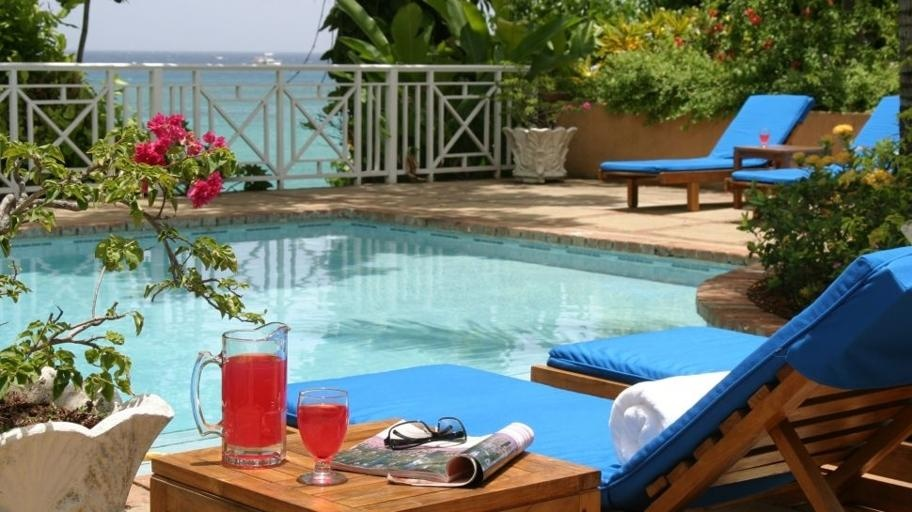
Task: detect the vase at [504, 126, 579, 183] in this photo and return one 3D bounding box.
[{"bbox_3d":[1.216,-1.473,12.442,1.012,0.562,0.922,-1,3,-6],"label":"vase"}]

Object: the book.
[{"bbox_3d":[-0.059,0.603,2.620,0.330,0.131,0.731,-1,-2,21],"label":"book"}]

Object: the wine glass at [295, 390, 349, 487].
[{"bbox_3d":[-0.379,0.501,2.419,0.185,0.282,0.141,0,4,-4],"label":"wine glass"}]

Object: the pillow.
[{"bbox_3d":[0.750,0.532,3.074,0.479,0.279,0.370,-11,0,-33],"label":"pillow"}]

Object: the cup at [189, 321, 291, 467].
[{"bbox_3d":[-0.645,0.408,2.556,0.225,0.504,0.219,0,1,0],"label":"cup"}]

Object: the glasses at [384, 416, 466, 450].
[{"bbox_3d":[-0.098,0.567,2.662,0.159,0.046,0.151,-2,-3,-26],"label":"glasses"}]

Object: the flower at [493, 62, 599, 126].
[{"bbox_3d":[1.345,-2.344,12.468,1.025,0.906,1.191,17,20,40],"label":"flower"}]

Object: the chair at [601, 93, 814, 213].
[{"bbox_3d":[2.609,-1.288,9.862,2.957,1.287,1.257,-2,5,-29],"label":"chair"}]
